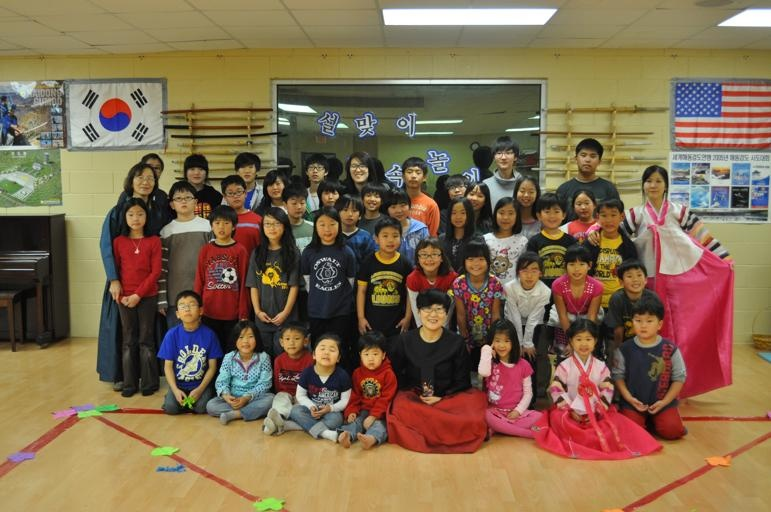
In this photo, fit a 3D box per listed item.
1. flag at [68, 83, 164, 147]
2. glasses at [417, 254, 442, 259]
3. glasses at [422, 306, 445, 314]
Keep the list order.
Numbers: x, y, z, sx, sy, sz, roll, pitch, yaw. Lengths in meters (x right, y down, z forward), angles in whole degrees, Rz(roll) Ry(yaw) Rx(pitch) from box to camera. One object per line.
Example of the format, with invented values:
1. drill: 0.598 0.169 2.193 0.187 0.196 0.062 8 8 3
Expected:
1. flag: -3.041 -1.636 6.834 0.818 0.513 0.057 2 3 1
2. glasses: 0.362 -0.008 4.892 0.185 0.039 0.064 -2 10 -5
3. glasses: 0.377 0.406 4.664 0.176 0.052 0.031 0 11 5
